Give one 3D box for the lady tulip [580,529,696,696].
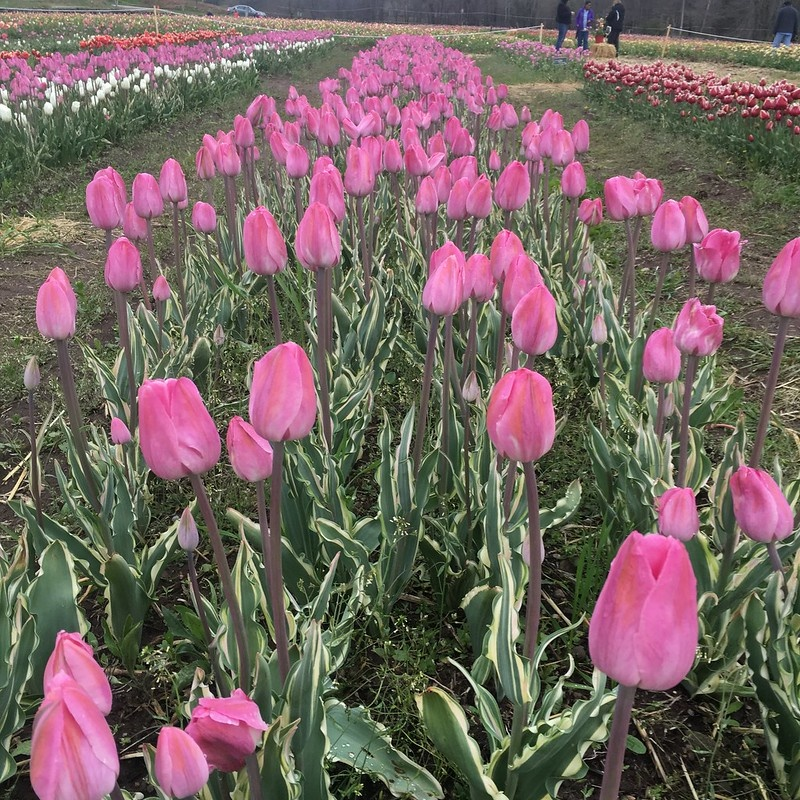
[{"bbox_3d":[0.300,0.267,0.817,0.122,0.249,0.060,17,26,29],"label":"lady tulip"}]
